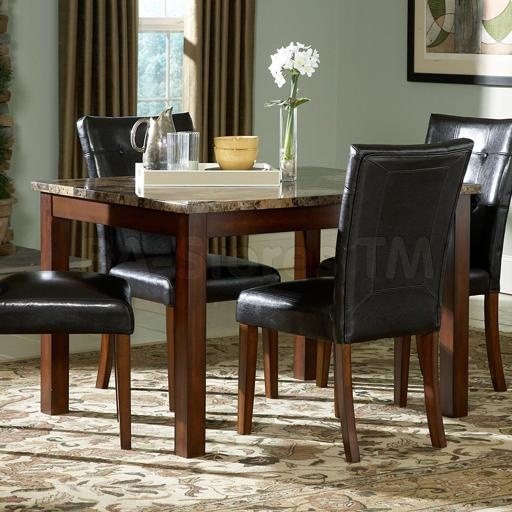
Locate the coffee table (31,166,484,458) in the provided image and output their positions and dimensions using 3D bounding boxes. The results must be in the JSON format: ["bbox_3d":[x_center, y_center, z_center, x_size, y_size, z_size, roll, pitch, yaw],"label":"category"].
[{"bbox_3d":[0.157,0.092,1.839,0.942,0.596,0.692,-3,2,1],"label":"coffee table"}]

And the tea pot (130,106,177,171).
[{"bbox_3d":[-0.345,-0.389,1.785,0.161,0.177,0.117,-17,39,-34],"label":"tea pot"}]

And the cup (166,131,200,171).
[{"bbox_3d":[-0.227,-0.324,1.689,0.097,0.123,0.093,0,3,0],"label":"cup"}]

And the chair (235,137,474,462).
[{"bbox_3d":[0.284,0.126,1.620,0.508,0.892,0.586,-2,3,-33],"label":"chair"}]

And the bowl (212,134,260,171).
[{"bbox_3d":[-0.067,-0.343,1.784,0.121,0.080,0.122,-1,1,0],"label":"bowl"}]
